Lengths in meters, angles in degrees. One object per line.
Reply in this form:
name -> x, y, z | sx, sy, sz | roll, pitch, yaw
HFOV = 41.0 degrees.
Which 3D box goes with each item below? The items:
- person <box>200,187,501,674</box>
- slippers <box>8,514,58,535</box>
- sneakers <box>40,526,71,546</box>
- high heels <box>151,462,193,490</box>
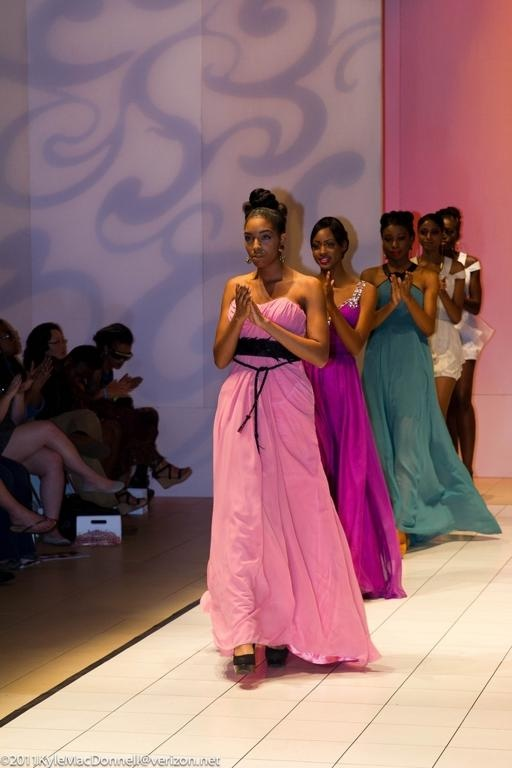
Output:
person -> 0.089, 0.110, 2.056 | 0.462, 1.468, 0.365 | 1, -7, -17
slippers -> -1.139, 0.733, 3.514 | 0.220, 0.078, 0.056 | 7, -14, -3
sneakers -> -1.163, 0.904, 4.040 | 0.220, 0.072, 0.119 | 4, 11, 24
high heels -> -0.621, 0.671, 5.258 | 0.328, 0.214, 0.161 | -13, 19, 3
